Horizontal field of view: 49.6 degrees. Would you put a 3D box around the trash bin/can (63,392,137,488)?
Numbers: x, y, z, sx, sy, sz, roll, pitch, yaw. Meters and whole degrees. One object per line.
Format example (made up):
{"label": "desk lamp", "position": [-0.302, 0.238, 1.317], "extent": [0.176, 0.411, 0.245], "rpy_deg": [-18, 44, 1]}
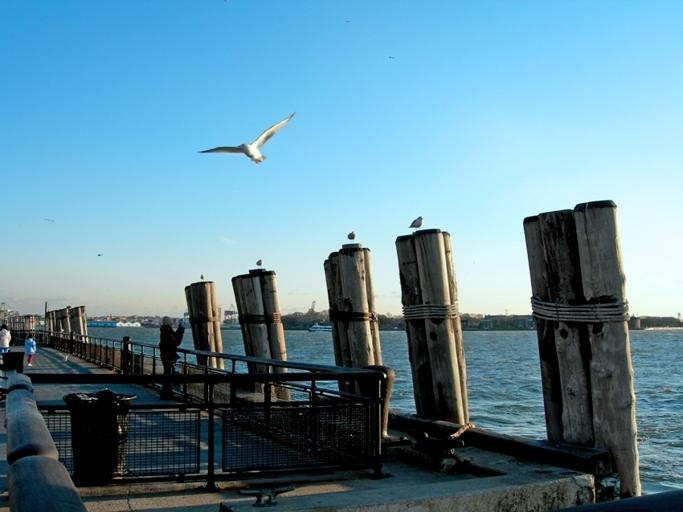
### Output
{"label": "trash bin/can", "position": [-2.550, 1.907, 7.819], "extent": [0.614, 0.940, 0.225], "rpy_deg": [-3, -5, -19]}
